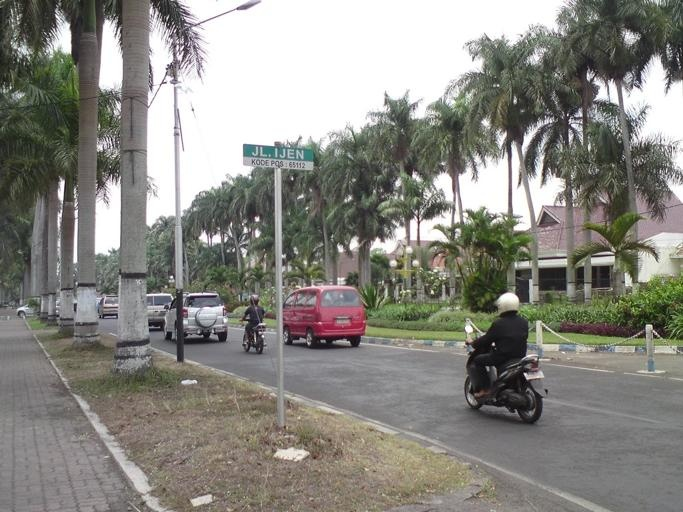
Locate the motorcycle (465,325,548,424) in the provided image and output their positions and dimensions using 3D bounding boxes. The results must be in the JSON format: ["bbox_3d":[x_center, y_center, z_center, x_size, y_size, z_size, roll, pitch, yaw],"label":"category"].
[{"bbox_3d":[3.015,2.185,12.178,0.919,1.886,2.291,-1,-2,-27],"label":"motorcycle"}]

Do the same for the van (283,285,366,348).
[{"bbox_3d":[-0.739,2.218,24.093,1.798,1.895,3.170,2,1,-24],"label":"van"}]

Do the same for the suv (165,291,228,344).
[{"bbox_3d":[-5.948,2.489,26.429,1.631,1.627,2.988,1,-1,-25],"label":"suv"}]

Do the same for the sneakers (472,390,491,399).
[{"bbox_3d":[2.711,2.646,12.072,0.319,0.149,0.111,1,0,44],"label":"sneakers"}]

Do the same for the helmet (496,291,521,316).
[{"bbox_3d":[3.239,0.902,12.213,0.353,0.439,0.459,0,4,4],"label":"helmet"}]

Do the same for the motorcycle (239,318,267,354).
[{"bbox_3d":[-3.055,2.926,22.390,0.620,0.880,1.186,4,-6,-23],"label":"motorcycle"}]

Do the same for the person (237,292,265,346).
[{"bbox_3d":[-3.103,2.539,22.201,0.935,1.281,1.756,7,-9,-23],"label":"person"}]
